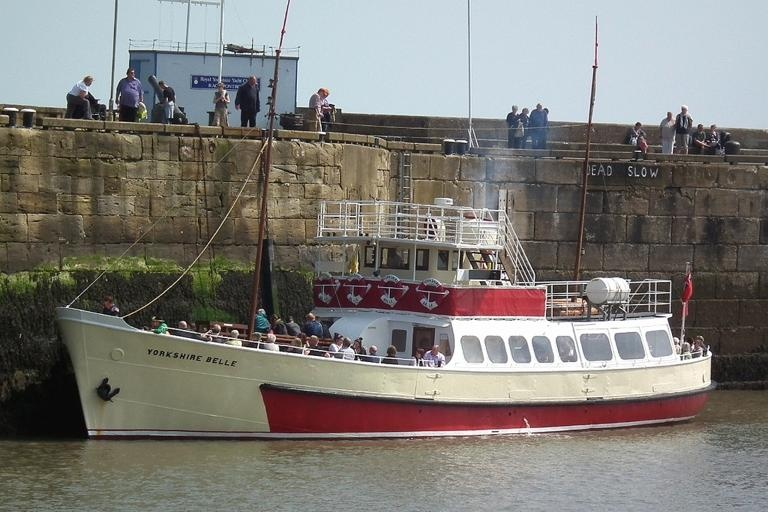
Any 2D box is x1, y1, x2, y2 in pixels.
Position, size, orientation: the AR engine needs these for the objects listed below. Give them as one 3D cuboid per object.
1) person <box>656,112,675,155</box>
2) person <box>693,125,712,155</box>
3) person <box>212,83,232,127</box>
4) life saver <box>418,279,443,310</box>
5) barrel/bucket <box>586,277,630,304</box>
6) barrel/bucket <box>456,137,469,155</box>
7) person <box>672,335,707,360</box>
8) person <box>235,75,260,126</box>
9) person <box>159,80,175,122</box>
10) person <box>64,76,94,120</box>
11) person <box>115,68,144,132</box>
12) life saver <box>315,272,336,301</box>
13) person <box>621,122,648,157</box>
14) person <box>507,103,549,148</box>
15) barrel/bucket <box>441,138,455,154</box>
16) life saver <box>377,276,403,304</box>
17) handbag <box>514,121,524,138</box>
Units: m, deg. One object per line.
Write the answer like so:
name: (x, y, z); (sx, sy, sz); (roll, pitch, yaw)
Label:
person: (8.489, -3.678, 57.509); (0.419, 1.213, 1.497); (1, 4, 9)
person: (9.536, -3.518, 57.788); (0.538, 0.839, 0.589); (1, 4, 9)
person: (-4.498, -4.181, 52.490); (0.379, 1.162, 0.654); (0, 4, -9)
life saver: (1.153, 0.984, 47.750); (0.657, 0.694, 0.094); (2, 10, 34)
barrel/bucket: (5.811, 0.924, 49.636); (0.684, 0.691, 0.861); (-2, 0, 33)
barrel/bucket: (2.254, -3.205, 55.996); (0.378, 0.415, 0.401); (1, 7, 0)
person: (8.201, 2.504, 51.516); (0.555, 0.375, 0.982); (0, -11, 3)
person: (-3.784, -4.254, 52.674); (0.664, 1.386, 1.815); (0, 4, -4)
person: (-5.938, -4.238, 52.421); (0.415, 1.117, 1.349); (0, 4, -7)
person: (-8.156, -4.233, 51.089); (0.708, 1.089, 0.667); (-1, 5, -24)
person: (-6.896, -4.359, 51.594); (0.669, 1.427, 1.053); (0, 4, -8)
life saver: (-1.524, 0.837, 48.928); (0.645, 0.804, 0.099); (-2, -6, 31)
person: (7.597, -3.560, 57.791); (0.546, 1.006, 0.405); (-5, -11, 28)
person: (4.246, -3.864, 57.047); (1.177, 1.278, 1.130); (1, 4, 4)
barrel/bucket: (1.844, -3.195, 55.839); (0.356, 0.376, 0.377); (0, 0, 0)
life saver: (0.134, 0.897, 48.184); (0.608, 0.736, 0.124); (2, 8, 31)
handbag: (4.016, -3.789, 57.066); (0.293, 0.561, 0.554); (1, 4, 5)
